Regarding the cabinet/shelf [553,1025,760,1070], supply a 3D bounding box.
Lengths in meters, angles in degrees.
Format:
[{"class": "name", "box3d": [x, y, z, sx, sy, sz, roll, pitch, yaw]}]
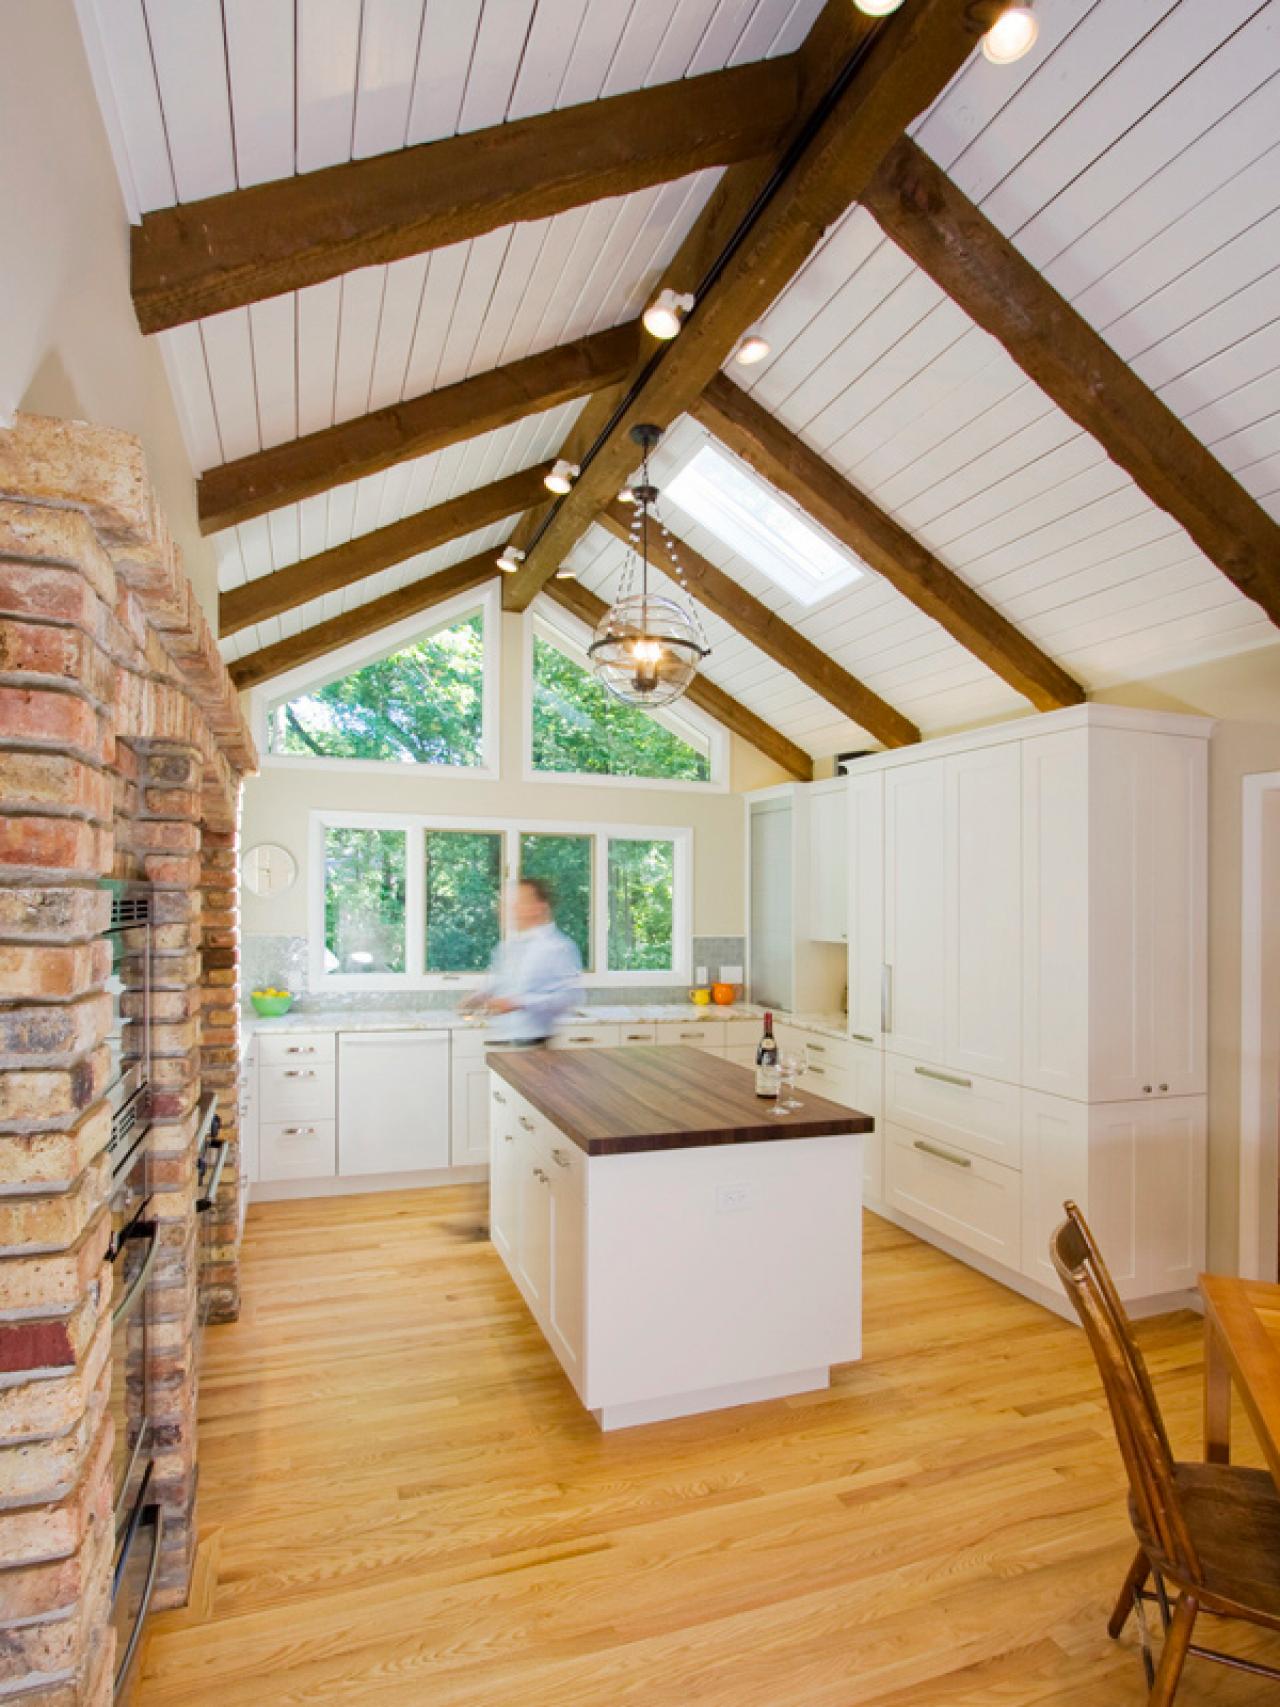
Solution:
[{"class": "cabinet/shelf", "box3d": [0.113, 0.953, 6.069, 1.115, 0.249, 0.092, 0, 1, -28]}]

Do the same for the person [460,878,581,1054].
[{"class": "person", "box3d": [-0.526, 0.502, 5.324, 0.391, 0.776, 0.898, 0, 1, -23]}]

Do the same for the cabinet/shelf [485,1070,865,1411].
[{"class": "cabinet/shelf", "box3d": [0.083, 1.104, 3.676, 0.848, 0.811, 1.088, 0, 1, -20]}]

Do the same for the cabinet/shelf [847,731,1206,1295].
[{"class": "cabinet/shelf", "box3d": [1.391, 0.535, 4.530, 0.572, 2.010, 1.282, 0, 1, -25]}]

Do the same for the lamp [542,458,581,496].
[{"class": "lamp", "box3d": [-0.288, -1.438, 4.683, 0.109, 0.159, 0.307, 0, 1, -1]}]

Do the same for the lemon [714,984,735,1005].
[{"class": "lemon", "box3d": [0.471, 0.783, 6.743, 0.109, 0.086, 0.107, -4, 0, 3]}]

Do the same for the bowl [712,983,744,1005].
[{"class": "bowl", "box3d": [0.475, 0.772, 6.745, 0.133, 0.090, 0.132, -4, -2, 0]}]

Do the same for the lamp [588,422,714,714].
[{"class": "lamp", "box3d": [0.018, -0.917, 3.997, 0.350, 0.849, 0.346, 2, 10, 18]}]
